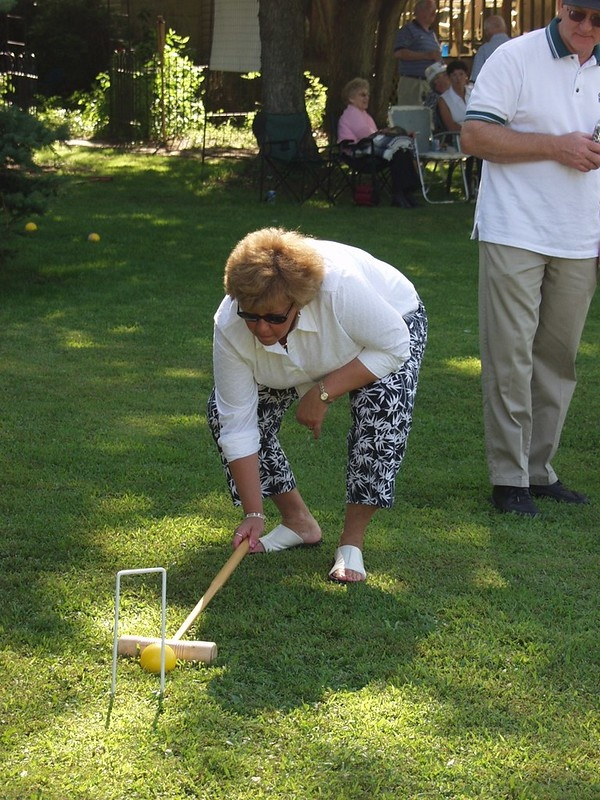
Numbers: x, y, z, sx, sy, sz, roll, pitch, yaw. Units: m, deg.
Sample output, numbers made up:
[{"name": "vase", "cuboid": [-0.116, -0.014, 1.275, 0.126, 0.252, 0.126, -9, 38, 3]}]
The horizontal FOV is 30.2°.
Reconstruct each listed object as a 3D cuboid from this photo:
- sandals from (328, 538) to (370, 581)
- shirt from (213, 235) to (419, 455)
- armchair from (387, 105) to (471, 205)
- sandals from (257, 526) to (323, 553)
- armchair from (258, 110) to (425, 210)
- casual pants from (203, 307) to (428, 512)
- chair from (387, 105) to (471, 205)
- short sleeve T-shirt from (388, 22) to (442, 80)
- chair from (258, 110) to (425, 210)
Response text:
[{"name": "sandals", "cuboid": [0.142, 0.456, 3.165, 0.116, 0.085, 0.219, -1, -2, 4]}, {"name": "shirt", "cuboid": [0.074, -0.143, 3.070, 0.628, 0.609, 0.396, -1, 14, -17]}, {"name": "armchair", "cuboid": [1.232, -2.407, 10.720, 0.777, 0.876, 0.652, 15, 22, 42]}, {"name": "sandals", "cuboid": [-0.030, 0.425, 3.343, 0.184, 0.064, 0.063, 1, -7, -21]}, {"name": "armchair", "cuboid": [0.324, -2.323, 10.903, 1.464, 0.891, 1.001, 0, 3, 28]}, {"name": "casual pants", "cuboid": [-0.021, 0.120, 3.376, 0.694, 0.812, 0.578, -1, -15, 6]}, {"name": "chair", "cuboid": [1.238, -2.405, 10.726, 0.662, 0.892, 0.767, -14, 21, -41]}, {"name": "short sleeve T-shirt", "cuboid": [1.145, -3.629, 11.627, 0.327, 0.498, 0.561, -6, 3, 21]}, {"name": "chair", "cuboid": [0.324, -2.317, 10.892, 1.464, 0.891, 1.001, 0, 3, 28]}]
